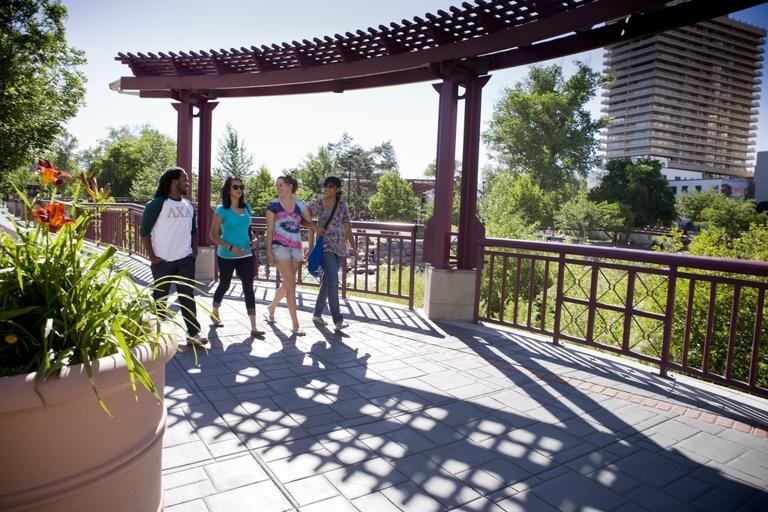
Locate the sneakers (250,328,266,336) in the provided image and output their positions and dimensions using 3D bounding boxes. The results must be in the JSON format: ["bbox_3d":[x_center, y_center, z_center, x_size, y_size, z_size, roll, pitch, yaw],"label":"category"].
[{"bbox_3d":[-1.514,0.921,5.828,0.139,0.057,0.078,-2,-3,28],"label":"sneakers"}]

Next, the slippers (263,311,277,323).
[{"bbox_3d":[-1.537,0.850,6.561,0.087,0.107,0.262,1,-1,-21],"label":"slippers"}]

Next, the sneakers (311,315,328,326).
[{"bbox_3d":[-0.855,0.864,6.418,0.235,0.099,0.093,3,4,17],"label":"sneakers"}]

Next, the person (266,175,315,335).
[{"bbox_3d":[-1.183,-0.035,6.030,0.534,1.930,0.601,2,10,2],"label":"person"}]

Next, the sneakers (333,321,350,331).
[{"bbox_3d":[-0.544,0.894,6.259,0.079,0.101,0.246,-1,12,26],"label":"sneakers"}]

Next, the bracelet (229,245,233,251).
[{"bbox_3d":[-1.777,-0.097,5.616,0.055,0.059,0.031,7,12,26],"label":"bracelet"}]

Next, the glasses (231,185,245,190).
[{"bbox_3d":[-1.721,-0.816,5.684,0.056,0.066,0.142,6,11,21],"label":"glasses"}]
